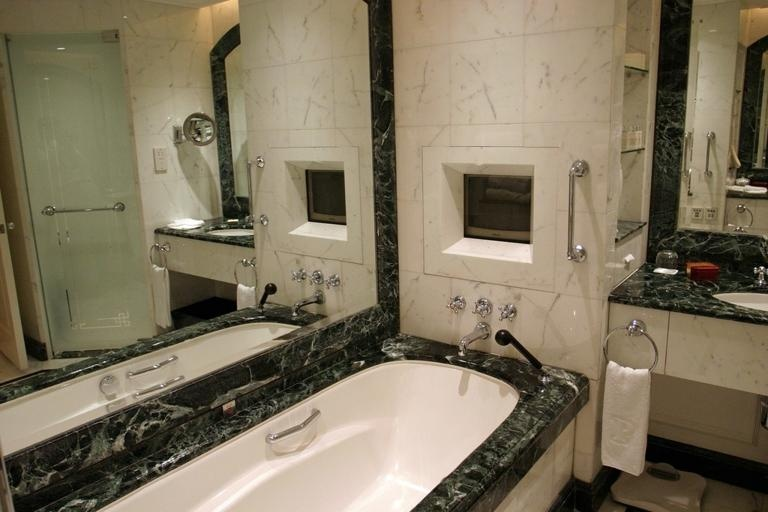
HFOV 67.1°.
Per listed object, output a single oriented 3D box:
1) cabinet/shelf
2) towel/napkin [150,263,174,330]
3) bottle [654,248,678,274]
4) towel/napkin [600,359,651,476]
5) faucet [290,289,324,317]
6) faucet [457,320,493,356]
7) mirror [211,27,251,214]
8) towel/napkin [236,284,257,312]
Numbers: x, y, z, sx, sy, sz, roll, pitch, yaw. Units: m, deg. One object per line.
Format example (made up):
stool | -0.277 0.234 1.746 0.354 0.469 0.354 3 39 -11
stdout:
cabinet/shelf | 1.440 -0.647 3.358 0.164 1.040 0.438 1 9 24
towel/napkin | -0.937 0.160 2.426 0.042 0.287 0.260 -8 9 -43
bottle | 1.678 0.027 3.453 0.142 0.152 0.143 3 5 31
towel/napkin | 1.240 0.819 2.989 0.226 0.581 0.139 0 9 21
faucet | -0.400 0.245 3.025 0.077 0.078 0.181 7 14 34
faucet | 0.473 0.466 3.211 0.144 0.180 0.232 5 11 42
mirror | -0.691 -0.596 2.586 0.031 0.842 0.190 2 10 27
towel/napkin | -0.654 0.194 2.724 0.110 0.177 0.065 -6 18 -32
